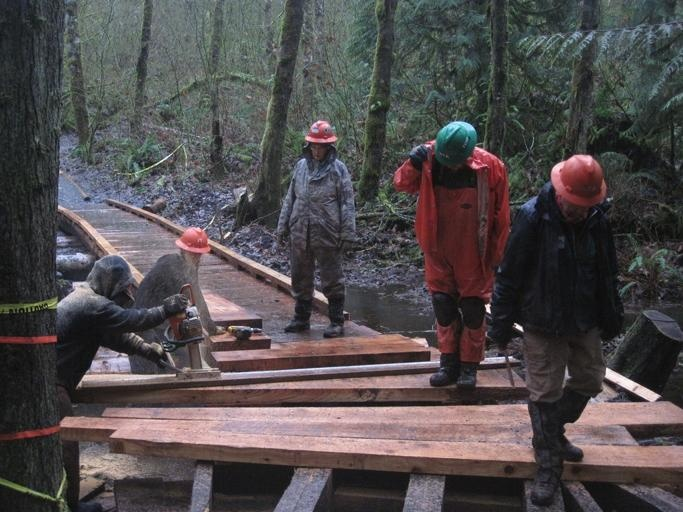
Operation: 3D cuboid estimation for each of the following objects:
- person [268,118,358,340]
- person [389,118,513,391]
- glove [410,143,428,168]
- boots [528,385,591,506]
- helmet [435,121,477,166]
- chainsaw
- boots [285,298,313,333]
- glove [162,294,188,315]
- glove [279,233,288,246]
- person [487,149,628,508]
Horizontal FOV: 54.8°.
[{"bbox_3d":[-0.213,-0.251,6.636,0.700,2.127,0.555,1,13,4],"label":"person"},{"bbox_3d":[0.995,0.047,5.656,0.929,2.276,0.940,1,4,16],"label":"person"},{"bbox_3d":[0.644,-0.810,5.389,0.138,0.184,0.075,17,-1,9],"label":"glove"},{"bbox_3d":[1.470,1.284,4.474,0.394,0.646,0.552,4,14,18],"label":"boots"},{"bbox_3d":[0.912,-0.871,5.212,0.331,0.356,0.256,2,13,7],"label":"helmet"},{"bbox_3d":[-1.311,0.645,5.506,0.423,0.760,0.246,-7,1,-3],"label":"chainsaw"},{"bbox_3d":[-0.457,0.598,6.835,0.290,0.383,0.179,-12,26,-27],"label":"boots"},{"bbox_3d":[-1.356,0.409,5.368,0.179,0.142,0.083,-10,0,-13],"label":"glove"},{"bbox_3d":[-0.609,-0.156,6.915,0.076,0.113,0.038,4,-1,-7],"label":"glove"},{"bbox_3d":[1.482,0.475,4.842,0.922,2.266,0.994,0,4,5],"label":"person"}]
